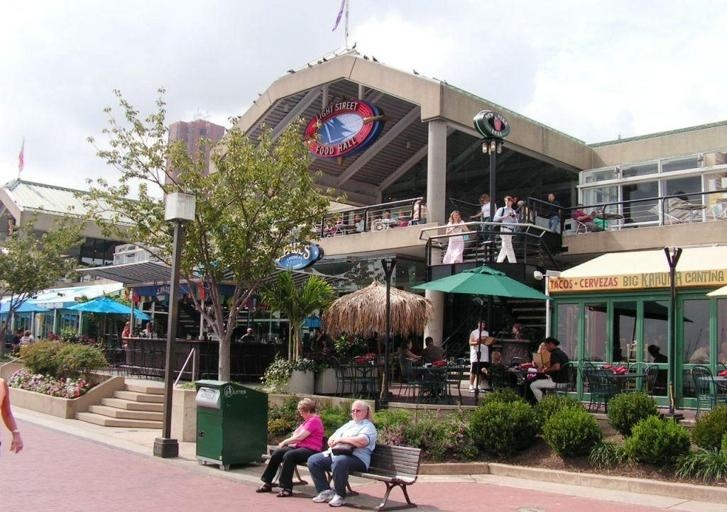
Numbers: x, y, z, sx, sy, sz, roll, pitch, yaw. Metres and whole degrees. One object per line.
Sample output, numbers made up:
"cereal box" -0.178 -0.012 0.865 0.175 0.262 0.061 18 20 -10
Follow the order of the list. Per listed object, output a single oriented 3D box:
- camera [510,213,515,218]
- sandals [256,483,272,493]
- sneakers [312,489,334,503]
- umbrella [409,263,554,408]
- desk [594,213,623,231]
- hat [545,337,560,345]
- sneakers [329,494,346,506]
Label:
"camera" 5.040 -1.416 24.376 0.107 0.137 0.249 4 -17 12
"sandals" -1.868 4.340 13.423 0.271 0.187 0.140 5 -11 -4
"sneakers" -0.718 4.354 13.004 0.393 0.207 0.165 2 -6 -25
"umbrella" 3.241 1.768 18.327 3.258 2.460 3.366 6 -2 -43
"desk" 9.037 -1.368 26.870 0.768 0.473 0.804 -1 -7 11
"hat" 4.743 2.142 18.054 0.394 0.330 0.301 1 -3 17
"sneakers" -0.488 4.379 12.837 0.260 0.206 0.186 -4 5 -3
